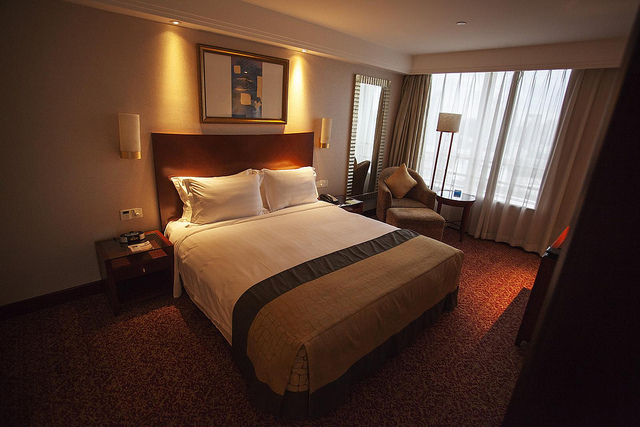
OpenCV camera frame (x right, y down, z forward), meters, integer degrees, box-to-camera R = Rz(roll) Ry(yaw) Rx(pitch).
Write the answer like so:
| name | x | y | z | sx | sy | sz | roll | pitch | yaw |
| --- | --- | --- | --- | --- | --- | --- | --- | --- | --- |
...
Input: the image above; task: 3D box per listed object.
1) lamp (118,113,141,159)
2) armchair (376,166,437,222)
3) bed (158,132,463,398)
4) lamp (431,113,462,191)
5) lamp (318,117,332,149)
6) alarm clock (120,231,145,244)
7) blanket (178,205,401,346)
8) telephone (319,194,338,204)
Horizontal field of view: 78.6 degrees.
| name | x | y | z | sx | sy | sz | roll | pitch | yaw |
| --- | --- | --- | --- | --- | --- | --- | --- | --- | --- |
| lamp | -2.079 | -0.844 | 4.260 | 0.218 | 0.474 | 0.076 | -7 | 13 | -41 |
| armchair | 1.352 | -0.261 | 6.347 | 0.803 | 0.890 | 0.856 | 3 | 11 | 2 |
| bed | -0.355 | 0.510 | 4.631 | 2.975 | 2.109 | 2.899 | -15 | 26 | -36 |
| lamp | 2.019 | -0.953 | 6.278 | 0.342 | 1.291 | 0.515 | 5 | 18 | 15 |
| lamp | 0.077 | -1.204 | 5.864 | 0.168 | 0.443 | 0.112 | -1 | 18 | -2 |
| alarm clock | -2.139 | 0.273 | 4.440 | 0.258 | 0.082 | 0.157 | -9 | 20 | -26 |
| blanket | -0.275 | 0.393 | 5.068 | 2.886 | 0.798 | 1.822 | -21 | 28 | -37 |
| telephone | 0.129 | -0.232 | 5.989 | 0.167 | 0.076 | 0.159 | -10 | 24 | -35 |
